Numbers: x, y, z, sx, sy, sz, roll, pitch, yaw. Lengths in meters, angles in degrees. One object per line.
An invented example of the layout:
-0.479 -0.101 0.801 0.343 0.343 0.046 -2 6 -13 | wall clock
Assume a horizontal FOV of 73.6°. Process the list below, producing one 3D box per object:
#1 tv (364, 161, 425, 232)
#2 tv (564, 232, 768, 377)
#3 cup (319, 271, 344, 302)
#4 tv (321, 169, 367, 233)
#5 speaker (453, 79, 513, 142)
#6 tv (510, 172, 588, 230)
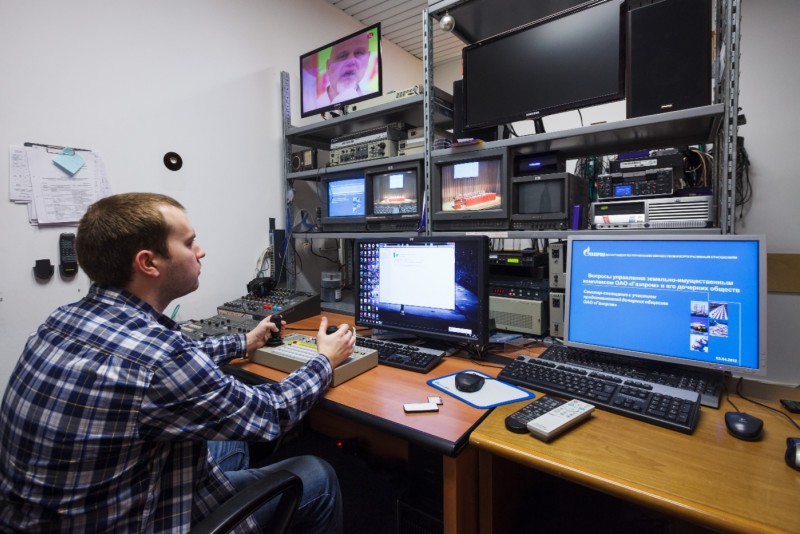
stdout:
-0.029 -0.428 3.159 0.463 0.422 0.238 0 0 29 | tv
1.121 0.162 2.216 0.629 0.437 0.047 3 -1 28 | tv
-0.496 0.130 3.610 0.152 0.207 0.191 -1 2 -27 | cup
-0.352 -0.431 3.393 0.433 0.354 0.236 -1 -2 38 | tv
0.448 -0.846 2.883 0.396 0.367 0.275 3 7 29 | speaker
0.755 -0.319 2.777 0.303 0.239 0.329 1 1 35 | tv
